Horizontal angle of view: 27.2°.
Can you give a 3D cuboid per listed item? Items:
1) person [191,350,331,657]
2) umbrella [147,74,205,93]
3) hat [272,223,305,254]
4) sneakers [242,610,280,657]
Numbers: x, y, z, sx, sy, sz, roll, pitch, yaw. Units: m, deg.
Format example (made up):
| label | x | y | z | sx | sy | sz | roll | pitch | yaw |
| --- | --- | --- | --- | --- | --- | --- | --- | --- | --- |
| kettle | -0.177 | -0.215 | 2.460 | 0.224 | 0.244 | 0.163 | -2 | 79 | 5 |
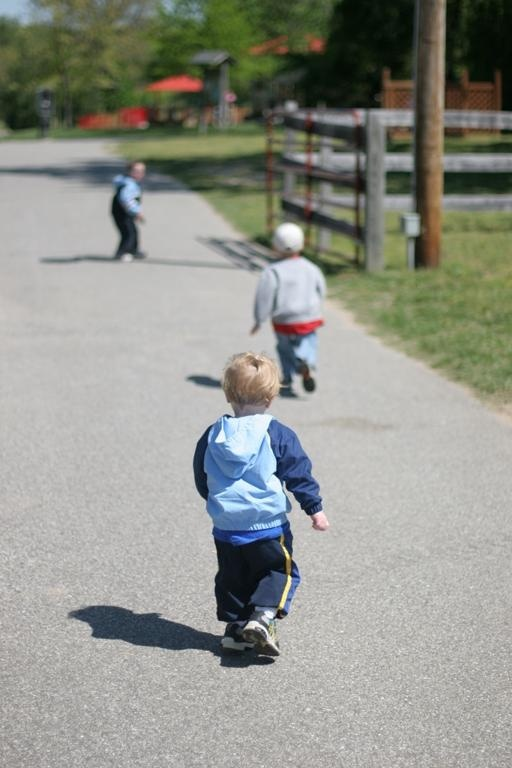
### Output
| label | x | y | z | sx | sy | sz | roll | pitch | yaw |
| --- | --- | --- | --- | --- | --- | --- | --- | --- | --- |
| person | 0.033 | 0.470 | 3.885 | 0.434 | 1.176 | 0.261 | -2 | 11 | 2 |
| umbrella | -3.784 | -14.944 | 52.371 | 2.893 | 0.910 | 1.723 | 6 | 13 | 39 |
| hat | 0.218 | -1.030 | 7.503 | 0.200 | 0.214 | 0.246 | -2 | 11 | 0 |
| sneakers | 0.032 | 0.940 | 3.969 | 0.099 | 0.114 | 0.240 | -9 | -36 | 23 |
